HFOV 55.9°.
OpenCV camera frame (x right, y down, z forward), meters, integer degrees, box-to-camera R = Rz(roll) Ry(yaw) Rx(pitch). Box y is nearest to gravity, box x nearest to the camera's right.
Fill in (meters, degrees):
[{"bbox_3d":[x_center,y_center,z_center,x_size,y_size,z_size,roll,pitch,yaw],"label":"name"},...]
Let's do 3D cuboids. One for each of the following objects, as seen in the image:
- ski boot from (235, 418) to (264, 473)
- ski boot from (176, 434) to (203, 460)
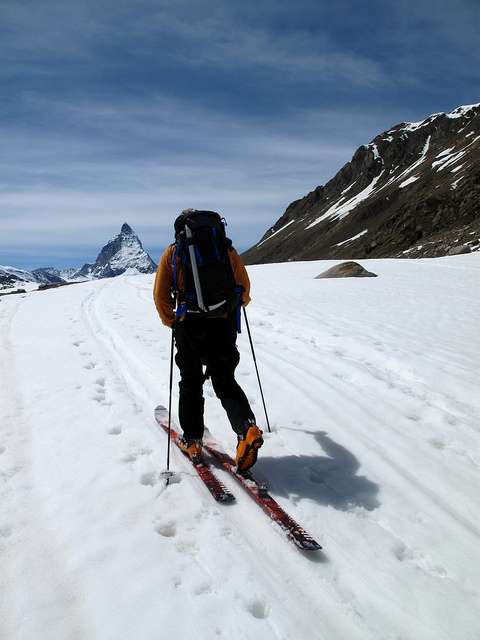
[{"bbox_3d":[0.070,1.143,4.261,0.250,0.646,0.294,-4,50,-21],"label":"ski boot"},{"bbox_3d":[-0.530,1.262,4.662,0.121,0.154,0.350,6,10,-25],"label":"ski boot"}]
